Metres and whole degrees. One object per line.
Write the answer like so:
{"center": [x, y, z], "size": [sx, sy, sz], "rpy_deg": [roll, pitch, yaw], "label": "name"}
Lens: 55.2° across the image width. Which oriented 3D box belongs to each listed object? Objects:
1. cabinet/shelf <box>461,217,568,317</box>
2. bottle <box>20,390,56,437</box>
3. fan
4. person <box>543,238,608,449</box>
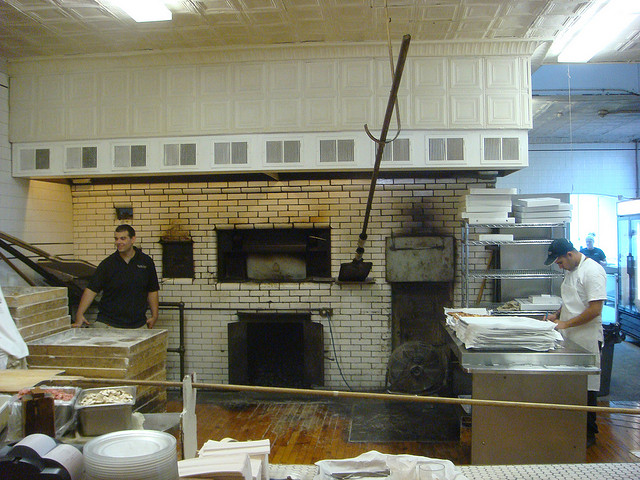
{"center": [2.267, 0.306, 7.030], "size": [1.353, 1.047, 0.436], "rpy_deg": [1, -1, 4], "label": "cabinet/shelf"}
{"center": [-1.739, 1.060, 3.762], "size": [0.209, 0.294, 0.158], "rpy_deg": [-11, 17, -29], "label": "bottle"}
{"center": [1.077, 1.500, 7.161], "size": [0.736, 0.606, 0.320], "rpy_deg": [2, -8, -9], "label": "fan"}
{"center": [2.548, 0.995, 6.104], "size": [0.581, 1.937, 0.925], "rpy_deg": [1, 15, 14], "label": "person"}
